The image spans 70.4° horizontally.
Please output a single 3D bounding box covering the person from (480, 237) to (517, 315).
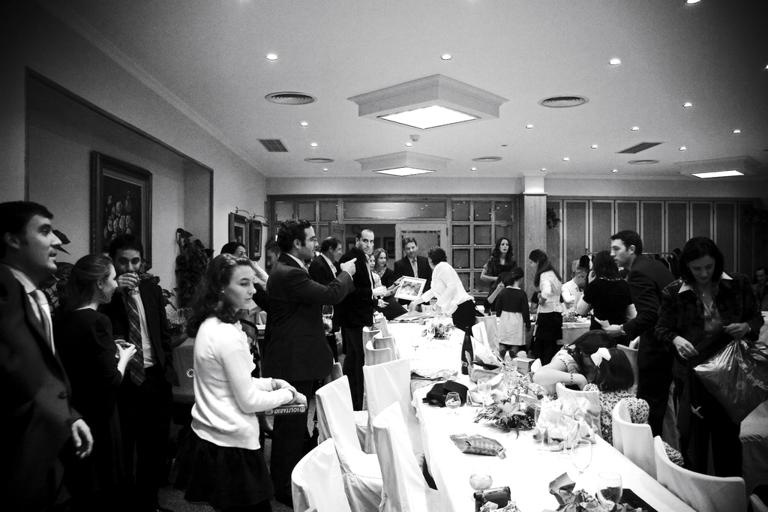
[{"bbox_3d":[2.261,0.583,10.444,0.579,1.866,0.670,-3,18,-14],"label":"person"}]

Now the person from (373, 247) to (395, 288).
[{"bbox_3d":[0.076,0.320,9.265,0.319,0.542,0.892,-19,-8,5],"label":"person"}]

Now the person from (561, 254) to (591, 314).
[{"bbox_3d":[3.247,0.698,9.238,0.430,0.401,1.252,8,-32,18],"label":"person"}]

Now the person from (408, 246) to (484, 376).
[{"bbox_3d":[0.859,0.793,7.789,0.920,1.759,0.680,-5,4,41],"label":"person"}]

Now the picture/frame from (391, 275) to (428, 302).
[{"bbox_3d":[0.361,0.451,7.627,0.334,0.347,0.353,5,47,23],"label":"picture/frame"}]

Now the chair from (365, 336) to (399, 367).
[{"bbox_3d":[-0.025,0.929,5.348,0.249,0.339,0.328,-3,16,12],"label":"chair"}]

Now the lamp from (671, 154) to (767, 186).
[{"bbox_3d":[6.638,-1.691,10.834,1.515,0.448,1.938,0,0,36],"label":"lamp"}]

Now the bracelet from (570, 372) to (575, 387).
[{"bbox_3d":[1.419,0.925,4.093,0.022,0.068,0.056,7,-32,5],"label":"bracelet"}]

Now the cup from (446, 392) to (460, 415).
[{"bbox_3d":[0.497,1.091,4.009,0.110,0.169,0.116,0,-10,0],"label":"cup"}]

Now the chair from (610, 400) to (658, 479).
[{"bbox_3d":[1.591,1.184,3.490,0.194,0.343,0.224,-13,23,0],"label":"chair"}]
